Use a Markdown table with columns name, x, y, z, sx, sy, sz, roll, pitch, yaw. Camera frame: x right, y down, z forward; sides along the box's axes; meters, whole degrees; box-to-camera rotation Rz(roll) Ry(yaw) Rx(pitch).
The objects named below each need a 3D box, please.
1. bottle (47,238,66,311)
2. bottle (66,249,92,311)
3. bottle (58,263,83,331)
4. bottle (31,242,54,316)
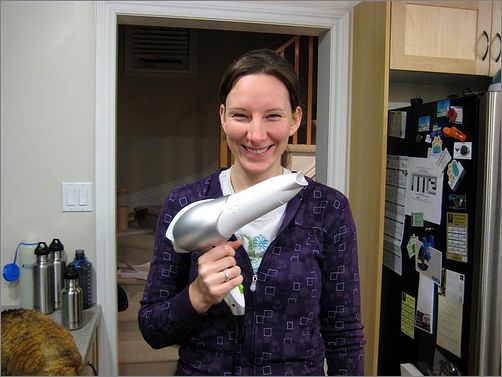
| name | x | y | z | sx | sy | sz | roll | pitch | yaw |
| --- | --- | --- | --- | --- | --- | --- | --- | --- | --- |
| bottle | -0.987 | 0.429 | 2.203 | 0.085 | 0.375 | 0.099 | 0 | 9 | -20 |
| bottle | -0.885 | 0.467 | 2.221 | 0.095 | 0.309 | 0.117 | 1 | 10 | -10 |
| bottle | -0.848 | 0.514 | 2.046 | 0.085 | 0.301 | 0.113 | 1 | 10 | -11 |
| bottle | -1.034 | 0.463 | 2.125 | 0.091 | 0.329 | 0.061 | 0 | -1 | -28 |
